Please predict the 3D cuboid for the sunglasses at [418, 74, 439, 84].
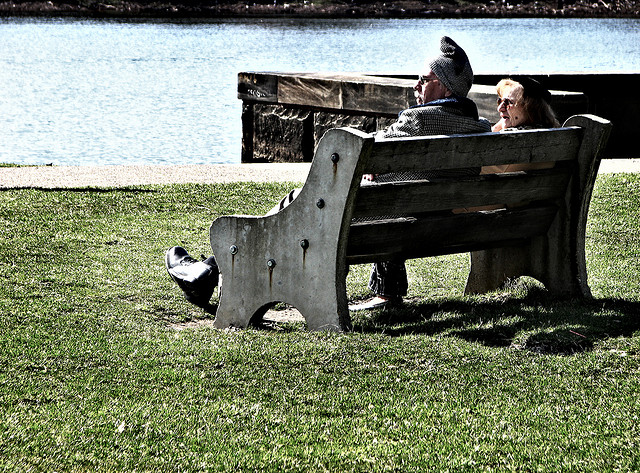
[{"bbox_3d":[0.868,-1.274,9.679,0.056,0.071,0.206,-7,13,-41],"label":"sunglasses"}]
